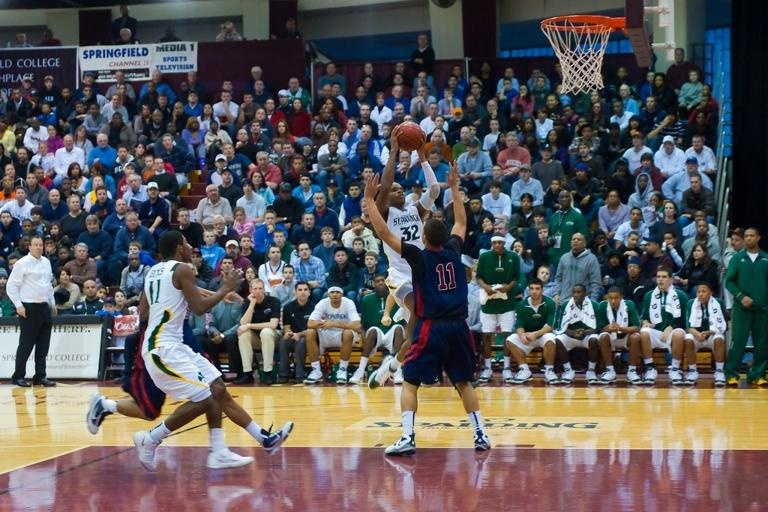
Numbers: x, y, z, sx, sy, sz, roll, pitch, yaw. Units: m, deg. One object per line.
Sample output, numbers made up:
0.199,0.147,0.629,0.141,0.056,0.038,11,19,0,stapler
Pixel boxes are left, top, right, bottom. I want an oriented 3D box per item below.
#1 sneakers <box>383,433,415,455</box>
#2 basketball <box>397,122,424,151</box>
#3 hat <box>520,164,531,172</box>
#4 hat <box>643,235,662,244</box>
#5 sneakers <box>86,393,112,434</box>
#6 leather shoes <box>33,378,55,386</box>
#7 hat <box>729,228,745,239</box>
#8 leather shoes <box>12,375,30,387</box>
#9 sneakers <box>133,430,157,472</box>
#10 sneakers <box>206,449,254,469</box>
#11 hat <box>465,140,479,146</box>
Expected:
0.249,2.503,13.461,0.470,0.248,0.183,-18,-40,28,sneakers
0.375,-1.676,14.338,0.394,0.383,0.260,-2,-1,-2,basketball
2.888,-1.771,20.793,0.150,0.138,0.254,-2,-9,21,hat
4.938,-0.300,18.706,0.229,0.125,0.157,4,-2,6,hat
-3.702,2.102,13.487,0.267,0.639,0.227,8,11,15,sneakers
-6.022,2.265,18.415,0.447,0.209,0.155,1,0,-3,leather shoes
6.058,-0.427,17.561,0.251,0.125,0.318,11,-7,31,hat
-6.431,2.219,18.317,0.308,0.142,0.160,4,3,1,leather shoes
-2.980,2.434,13.089,0.263,0.625,0.203,-11,4,9,sneakers
-1.973,2.573,13.143,0.636,0.311,0.237,0,-2,-4,sneakers
1.871,-2.377,21.605,0.251,0.174,0.237,-2,-1,14,hat
